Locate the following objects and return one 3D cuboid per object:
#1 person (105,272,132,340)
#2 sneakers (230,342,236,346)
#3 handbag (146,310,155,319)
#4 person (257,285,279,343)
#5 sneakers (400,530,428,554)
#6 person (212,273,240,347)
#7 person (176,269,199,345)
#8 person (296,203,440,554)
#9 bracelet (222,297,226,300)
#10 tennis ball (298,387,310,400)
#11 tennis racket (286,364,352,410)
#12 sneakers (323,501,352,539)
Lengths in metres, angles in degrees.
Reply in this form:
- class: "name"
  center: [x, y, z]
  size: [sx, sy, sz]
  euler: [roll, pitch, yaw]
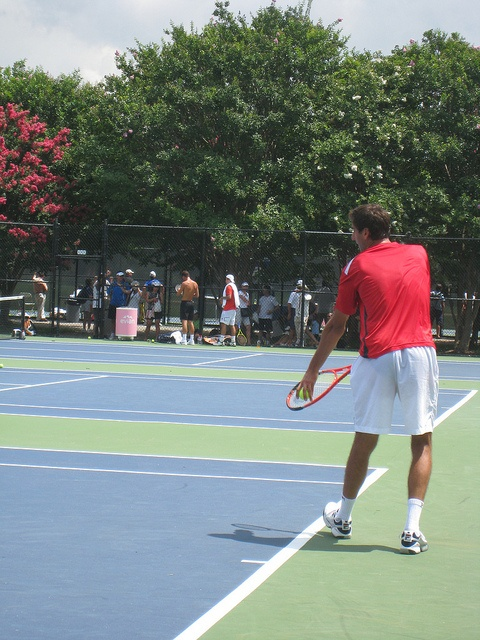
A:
- class: "person"
  center: [-2.814, -0.351, 20.861]
  size: [0.442, 1.571, 0.972]
  euler: [2, -2, -9]
- class: "sneakers"
  center: [-0.176, 0.546, 20.331]
  size: [0.082, 0.085, 0.152]
  euler: [-8, -12, 30]
- class: "handbag"
  center: [-2.095, -0.139, 20.828]
  size: [0.168, 0.196, 0.206]
  euler: [-2, -3, 32]
- class: "person"
  center: [0.650, -0.045, 21.235]
  size: [0.478, 1.313, 1.247]
  euler: [2, -2, 3]
- class: "sneakers"
  center: [0.829, 1.045, 4.291]
  size: [0.139, 0.113, 0.140]
  euler: [2, -2, 4]
- class: "person"
  center: [-0.264, -0.211, 19.791]
  size: [0.454, 1.544, 1.468]
  euler: [2, -2, 0]
- class: "person"
  center: [-1.170, -0.257, 19.695]
  size: [0.425, 1.563, 1.487]
  euler: [2, -2, -4]
- class: "person"
  center: [0.655, 0.255, 4.421]
  size: [0.606, 1.689, 0.327]
  euler: [2, -2, 11]
- class: "bracelet"
  center: [-0.339, -0.473, 19.386]
  size: [0.067, 0.051, 0.068]
  euler: [1, 3, -11]
- class: "tennis ball"
  center: [0.320, 0.378, 4.561]
  size: [0.055, 0.057, 0.067]
  euler: [-6, 22, 12]
- class: "tennis racket"
  center: [0.456, 0.400, 5.212]
  size: [0.236, 0.121, 0.849]
  euler: [-2, 11, 15]
- class: "sneakers"
  center: [0.484, 0.999, 4.545]
  size: [0.088, 0.128, 0.235]
  euler: [0, 9, -2]
